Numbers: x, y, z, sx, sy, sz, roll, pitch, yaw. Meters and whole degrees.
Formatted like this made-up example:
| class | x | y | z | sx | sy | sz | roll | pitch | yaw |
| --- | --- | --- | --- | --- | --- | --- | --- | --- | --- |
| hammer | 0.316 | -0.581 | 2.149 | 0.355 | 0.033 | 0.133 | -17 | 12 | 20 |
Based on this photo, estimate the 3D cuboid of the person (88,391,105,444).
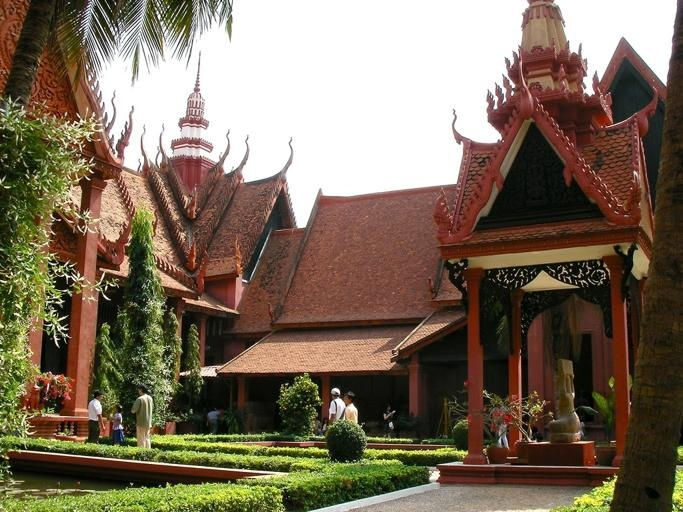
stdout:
| class | x | y | z | sx | sy | sz | roll | pitch | yaw |
| --- | --- | --- | --- | --- | --- | --- | --- | --- | --- |
| person | -4.783 | 3.088 | 13.330 | 0.296 | 1.011 | 0.668 | 7 | -19 | -20 |

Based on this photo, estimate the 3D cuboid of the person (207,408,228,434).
| class | x | y | z | sx | sy | sz | roll | pitch | yaw |
| --- | --- | --- | --- | --- | --- | --- | --- | --- | --- |
| person | -3.660 | 4.791 | 20.026 | 0.582 | 0.710 | 0.744 | 4 | -18 | -9 |
